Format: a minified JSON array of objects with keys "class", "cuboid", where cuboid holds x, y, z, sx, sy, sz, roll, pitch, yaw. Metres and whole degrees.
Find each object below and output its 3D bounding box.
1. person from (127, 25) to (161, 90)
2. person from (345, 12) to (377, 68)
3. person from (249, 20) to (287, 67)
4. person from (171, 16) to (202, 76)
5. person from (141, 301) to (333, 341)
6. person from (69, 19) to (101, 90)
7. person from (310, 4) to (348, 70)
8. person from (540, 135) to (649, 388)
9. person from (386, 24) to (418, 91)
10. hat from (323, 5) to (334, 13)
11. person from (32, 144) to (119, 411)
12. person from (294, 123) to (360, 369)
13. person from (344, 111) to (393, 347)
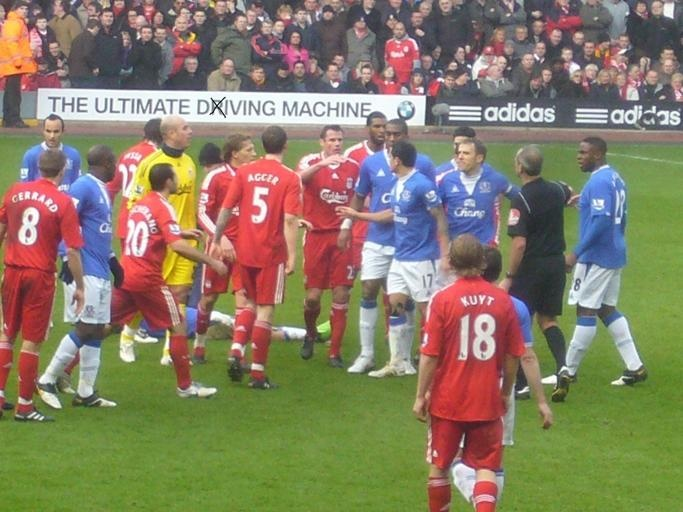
[{"class":"person","cuboid":[-3.836,-3.873,23.524,0.629,1.165,0.292,-1,5,-10]},{"class":"person","cuboid":[0.399,-4.286,25.548,0.732,1.504,0.345,4,23,5]},{"class":"person","cuboid":[-1.514,-4.293,24.384,0.679,0.920,0.494,-1,1,-28]},{"class":"person","cuboid":[-3.109,-4.207,23.918,0.472,1.286,0.409,2,28,-4]},{"class":"person","cuboid":[-1.308,0.928,15.709,1.967,0.449,0.880,2,8,-9]},{"class":"person","cuboid":[-5.017,-3.768,23.406,0.662,1.665,0.550,22,27,38]},{"class":"person","cuboid":[-0.309,-4.613,25.191,0.569,1.440,0.481,-17,31,-20]},{"class":"person","cuboid":[2.828,0.004,14.047,1.023,2.971,1.121,7,7,43]},{"class":"person","cuboid":[1.204,-4.007,25.247,0.714,1.670,0.441,9,25,23]},{"class":"hat","cuboid":[-0.295,-5.177,25.200,0.173,0.137,0.175,7,8,19]},{"class":"person","cuboid":[-2.888,0.166,13.385,1.043,2.728,1.022,5,6,30]},{"class":"person","cuboid":[-0.209,-0.169,15.103,0.997,2.719,0.929,2,5,-1]},{"class":"person","cuboid":[0.250,-0.574,14.867,0.623,2.295,0.615,3,18,0]}]
